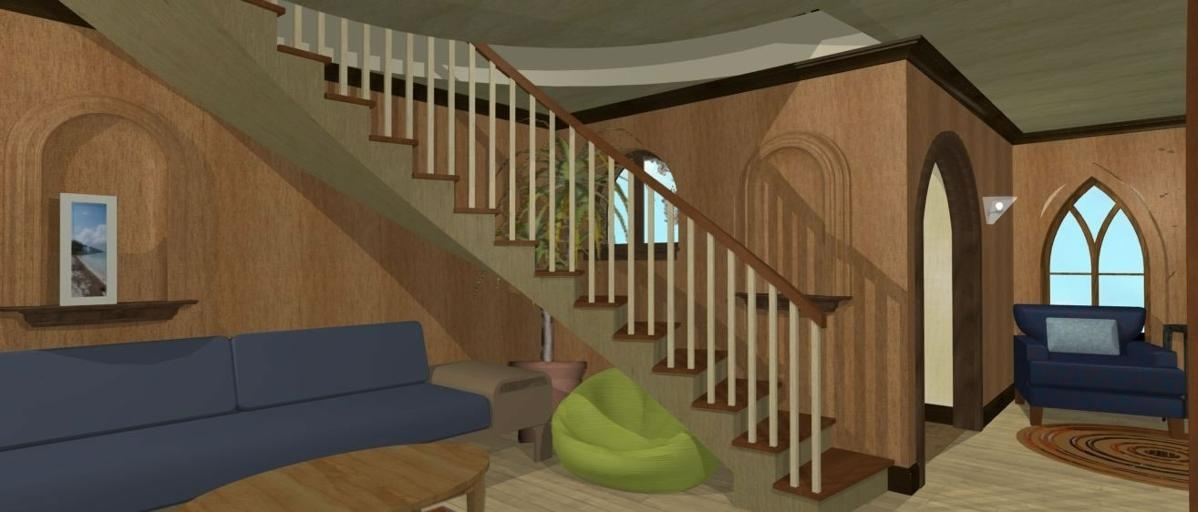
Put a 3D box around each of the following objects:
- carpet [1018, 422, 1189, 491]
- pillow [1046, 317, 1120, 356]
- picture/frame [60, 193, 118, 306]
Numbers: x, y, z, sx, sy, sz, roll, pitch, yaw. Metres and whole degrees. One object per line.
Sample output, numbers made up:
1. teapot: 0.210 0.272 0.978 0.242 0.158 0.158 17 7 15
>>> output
1. carpet: 6.865 2.668 10.916 2.056 0.606 1.361 -1 -3 21
2. pillow: 7.090 1.192 11.713 0.740 0.326 0.193 1 -11 12
3. picture/frame: -6.204 -0.083 9.729 0.580 1.355 0.100 1 -3 -26
